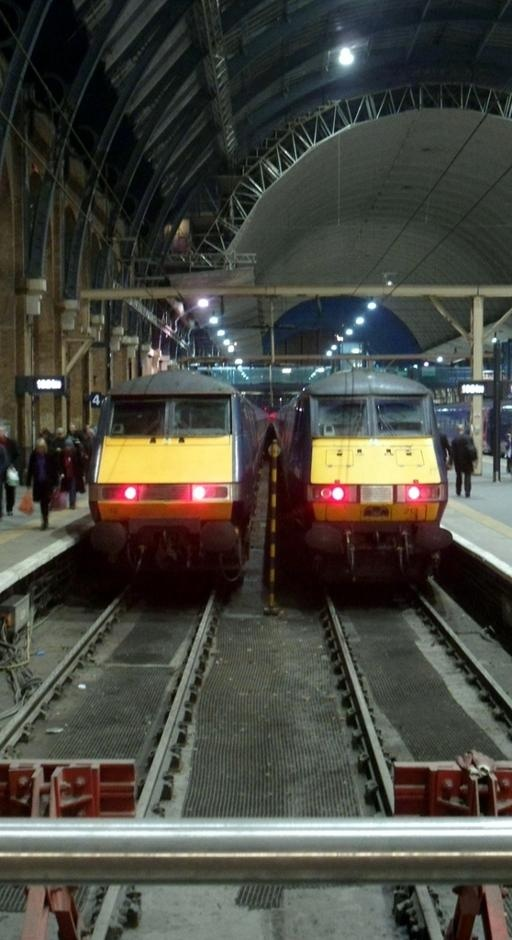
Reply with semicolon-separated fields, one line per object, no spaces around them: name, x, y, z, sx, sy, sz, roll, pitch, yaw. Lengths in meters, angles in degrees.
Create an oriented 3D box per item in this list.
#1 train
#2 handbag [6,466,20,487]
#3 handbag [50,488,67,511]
train;0.212;0.049;9.698;5.234;3.501;1.989;0;1;-6
handbag;-4.892;0.145;12.003;0.170;0.405;0.600;0;2;-26
handbag;-4.157;0.630;12.623;0.173;0.568;0.489;-4;1;4
